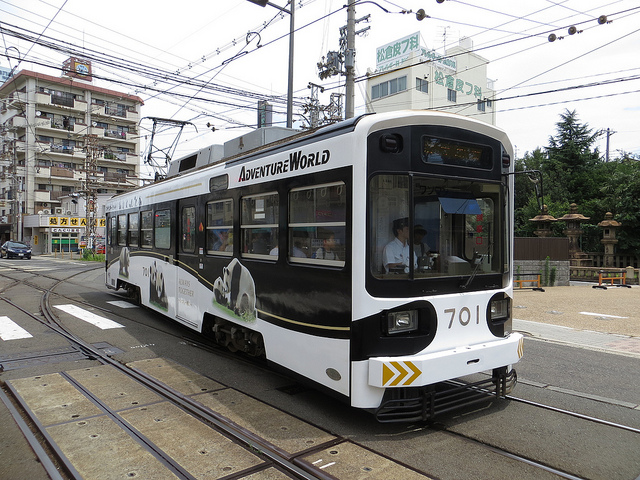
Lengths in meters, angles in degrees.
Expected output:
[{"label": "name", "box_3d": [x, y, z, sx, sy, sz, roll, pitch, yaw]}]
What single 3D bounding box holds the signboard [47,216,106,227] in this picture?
[{"label": "signboard", "box_3d": [-24.770, -1.819, 49.163, 5.100, 1.020, 0.951, 1, 4, -6]}]
